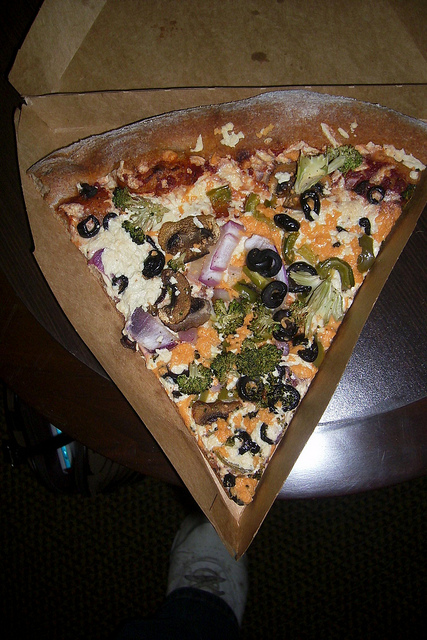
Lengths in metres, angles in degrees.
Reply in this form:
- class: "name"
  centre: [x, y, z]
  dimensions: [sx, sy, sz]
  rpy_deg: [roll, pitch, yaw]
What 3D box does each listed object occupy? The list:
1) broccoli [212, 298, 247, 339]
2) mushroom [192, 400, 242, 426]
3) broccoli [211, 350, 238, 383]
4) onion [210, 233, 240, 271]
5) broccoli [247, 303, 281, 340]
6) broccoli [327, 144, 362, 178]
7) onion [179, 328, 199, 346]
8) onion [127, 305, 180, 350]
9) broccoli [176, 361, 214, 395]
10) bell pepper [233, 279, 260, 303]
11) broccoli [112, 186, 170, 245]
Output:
- class: "broccoli"
  centre: [0.033, -0.007, 1.244]
  dimensions: [0.075, 0.027, 0.072]
  rpy_deg: [-17, 93, 0]
- class: "mushroom"
  centre: [0.005, 0.202, 1.241]
  dimensions: [0.087, 0.034, 0.047]
  rpy_deg: [-11, 70, -8]
- class: "broccoli"
  centre: [0.017, 0.098, 1.208]
  dimensions: [0.056, 0.019, 0.061]
  rpy_deg: [-2, 86, 6]
- class: "onion"
  centre: [0.024, -0.145, 1.250]
  dimensions: [0.051, 0.087, 0.026]
  rpy_deg: [13, 16, -21]
- class: "broccoli"
  centre: [0.107, 0.002, 1.246]
  dimensions: [0.068, 0.022, 0.074]
  rpy_deg: [-5, 95, 0]
- class: "broccoli"
  centre: [0.274, -0.331, 1.191]
  dimensions: [0.056, 0.054, 0.028]
  rpy_deg: [-11, 24, 8]
- class: "onion"
  centre: [-0.047, 0.035, 1.262]
  dimensions: [0.037, 0.010, 0.035]
  rpy_deg: [-13, 103, -13]
- class: "onion"
  centre: [-0.138, 0.032, 1.262]
  dimensions: [0.113, 0.040, 0.201]
  rpy_deg: [4, 25, -11]
- class: "broccoli"
  centre: [-0.040, 0.126, 1.236]
  dimensions: [0.065, 0.027, 0.064]
  rpy_deg: [-6, 87, -4]
- class: "bell pepper"
  centre: [0.073, -0.061, 1.259]
  dimensions: [0.052, 0.048, 0.018]
  rpy_deg: [23, 35, 12]
- class: "broccoli"
  centre: [-0.156, -0.221, 1.203]
  dimensions: [0.123, 0.105, 0.081]
  rpy_deg: [-6, 36, -13]
